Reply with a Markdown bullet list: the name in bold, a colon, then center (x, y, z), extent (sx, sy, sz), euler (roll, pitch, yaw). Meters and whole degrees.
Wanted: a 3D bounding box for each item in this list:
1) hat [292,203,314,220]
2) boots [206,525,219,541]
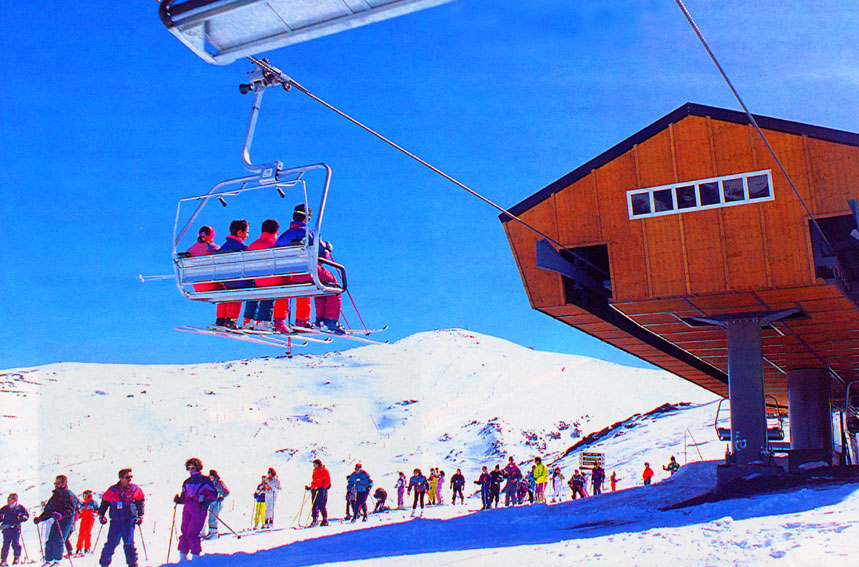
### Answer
- **hat**: center (-3.785, -2.160, 33.679), extent (0.475, 0.414, 0.630), euler (8, 13, 40)
- **boots**: center (-7.723, 8.824, 39.689), extent (0.397, 0.362, 1.042), euler (-6, -2, -10)
